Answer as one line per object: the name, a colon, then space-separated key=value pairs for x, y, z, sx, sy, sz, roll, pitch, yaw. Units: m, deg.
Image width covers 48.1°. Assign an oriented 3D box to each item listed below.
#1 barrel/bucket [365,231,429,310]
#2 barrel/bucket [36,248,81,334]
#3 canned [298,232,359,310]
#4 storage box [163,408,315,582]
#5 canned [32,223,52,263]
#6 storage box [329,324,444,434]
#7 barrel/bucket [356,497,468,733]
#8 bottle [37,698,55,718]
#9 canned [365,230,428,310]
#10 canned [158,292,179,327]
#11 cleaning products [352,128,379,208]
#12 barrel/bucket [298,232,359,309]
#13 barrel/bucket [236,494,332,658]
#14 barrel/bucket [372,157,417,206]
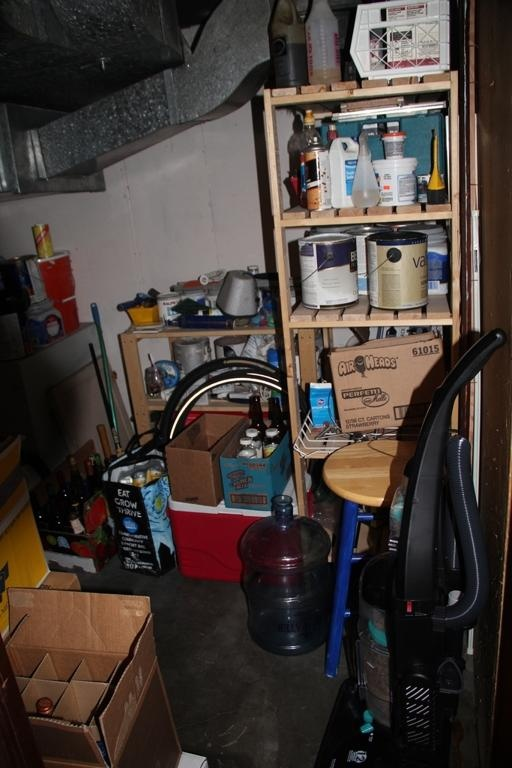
barrel/bucket: x=0.383 y=-0.312 z=1.624 sx=0.194 sy=0.211 sz=0.219 roll=1 pitch=24 yaw=15
barrel/bucket: x=-1.006 y=-0.440 z=2.900 sx=0.214 sy=0.361 sz=0.221 roll=-9 pitch=15 yaw=3
canned: x=0.219 y=-0.348 z=1.720 sx=0.184 sy=0.209 sz=0.198 roll=-5 pitch=28 yaw=7
storage box: x=-0.037 y=0.446 z=2.502 sx=0.542 sy=0.767 sz=0.778 roll=0 pitch=30 yaw=15
canned: x=-1.037 y=-0.690 z=2.789 sx=0.084 sy=0.160 sz=0.244 roll=-16 pitch=19 yaw=-16
storage box: x=0.415 y=0.028 z=1.708 sx=0.315 sy=0.299 sz=0.117 roll=-9 pitch=-26 yaw=27
barrel/bucket: x=0.377 y=0.603 z=1.502 sx=0.287 sy=0.629 sz=0.161 roll=-7 pitch=5 yaw=7
bottle: x=-0.391 y=0.612 z=1.086 sx=0.034 sy=0.032 sz=0.035 roll=8 pitch=50 yaw=-4
canned: x=0.406 y=-0.327 z=1.641 sx=0.177 sy=0.199 sz=0.201 roll=-2 pitch=18 yaw=13
canned: x=-0.385 y=-0.337 z=2.589 sx=0.108 sy=0.132 sz=0.077 roll=-13 pitch=18 yaw=-9
cleaning products: x=0.302 y=-0.590 z=1.595 sx=0.081 sy=0.187 sz=0.079 roll=-1 pitch=17 yaw=12
barrel/bucket: x=0.248 y=-0.335 z=1.733 sx=0.195 sy=0.205 sz=0.206 roll=-5 pitch=27 yaw=3
barrel/bucket: x=0.109 y=0.661 z=2.031 sx=0.315 sy=0.519 sz=0.331 roll=-4 pitch=16 yaw=1
barrel/bucket: x=0.393 y=-0.564 z=1.607 sx=0.126 sy=0.126 sz=0.123 roll=-5 pitch=17 yaw=1
